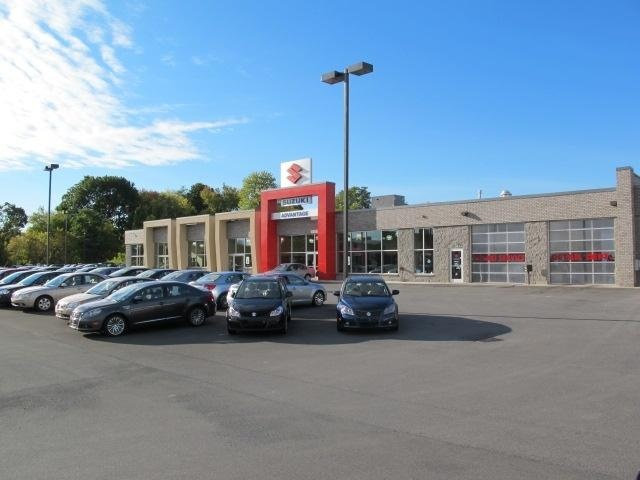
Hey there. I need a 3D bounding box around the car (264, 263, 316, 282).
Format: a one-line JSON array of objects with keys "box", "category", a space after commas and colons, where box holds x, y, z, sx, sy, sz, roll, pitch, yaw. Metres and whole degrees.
[{"box": [-1.733, 2.509, 37.223, 3.506, 1.155, 1.500, 8, -10, -44], "category": "car"}]

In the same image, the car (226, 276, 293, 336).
[{"box": [-1.870, 2.082, 14.660, 1.696, 1.517, 1.577, 0, 0, 5], "category": "car"}]

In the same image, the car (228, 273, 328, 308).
[{"box": [-1.636, 1.946, 18.020, 3.139, 1.046, 1.334, 6, -9, -32], "category": "car"}]

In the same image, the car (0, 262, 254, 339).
[{"box": [-6.212, 2.148, 16.133, 4.264, 1.508, 3.523, 0, 0, -34], "category": "car"}]
